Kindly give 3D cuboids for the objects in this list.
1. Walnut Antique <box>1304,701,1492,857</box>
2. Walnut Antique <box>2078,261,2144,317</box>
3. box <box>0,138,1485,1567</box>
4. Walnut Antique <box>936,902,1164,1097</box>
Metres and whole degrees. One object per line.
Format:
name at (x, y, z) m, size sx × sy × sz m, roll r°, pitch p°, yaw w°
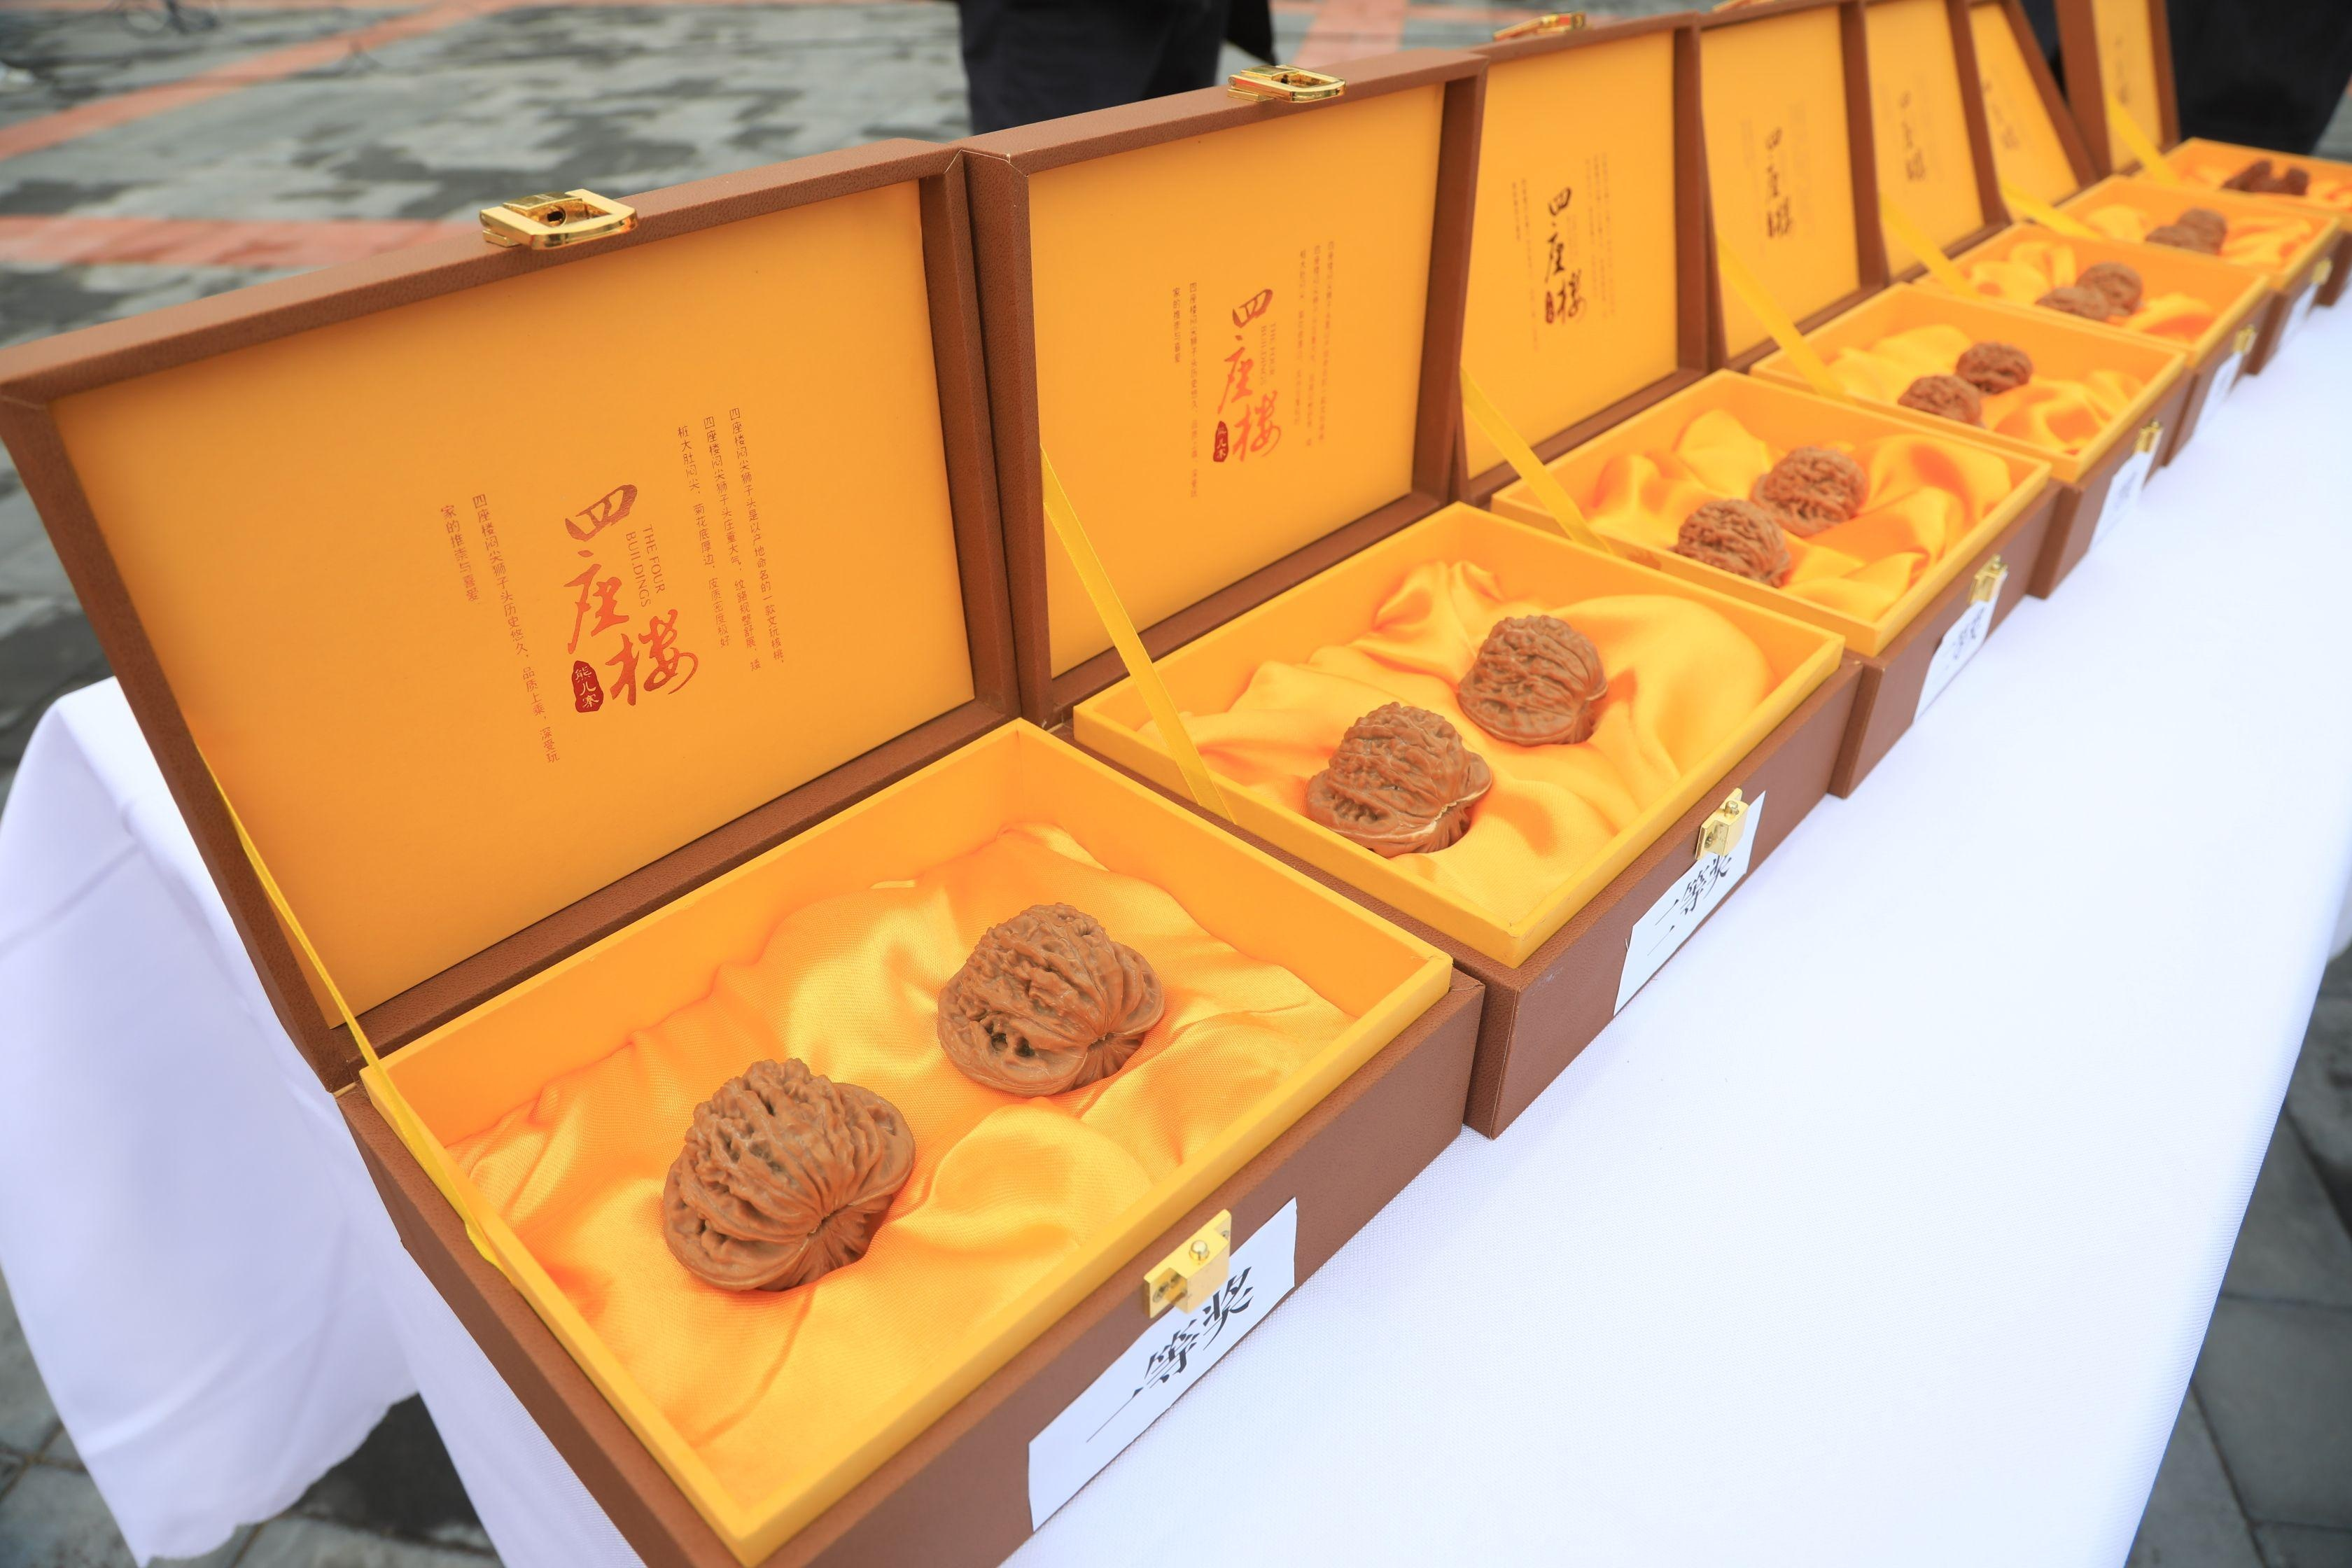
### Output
Walnut Antique at (0.215, 0.014, 1.519) m, size 0.171 × 0.083 × 0.139 m, roll 27°, pitch 70°, yaw 29°
Walnut Antique at (1.470, -0.784, 2.389) m, size 0.085 × 0.080 × 0.107 m, roll 10°, pitch 14°, yaw -4°
box at (-0.407, -0.149, 1.867) m, size 1.324 × 1.389 × 1.219 m, roll -32°, pitch 50°, yaw -33°
Walnut Antique at (-0.117, 0.177, 1.354) m, size 0.221 × 0.085 × 0.213 m, roll -1°, pitch 40°, yaw 9°
